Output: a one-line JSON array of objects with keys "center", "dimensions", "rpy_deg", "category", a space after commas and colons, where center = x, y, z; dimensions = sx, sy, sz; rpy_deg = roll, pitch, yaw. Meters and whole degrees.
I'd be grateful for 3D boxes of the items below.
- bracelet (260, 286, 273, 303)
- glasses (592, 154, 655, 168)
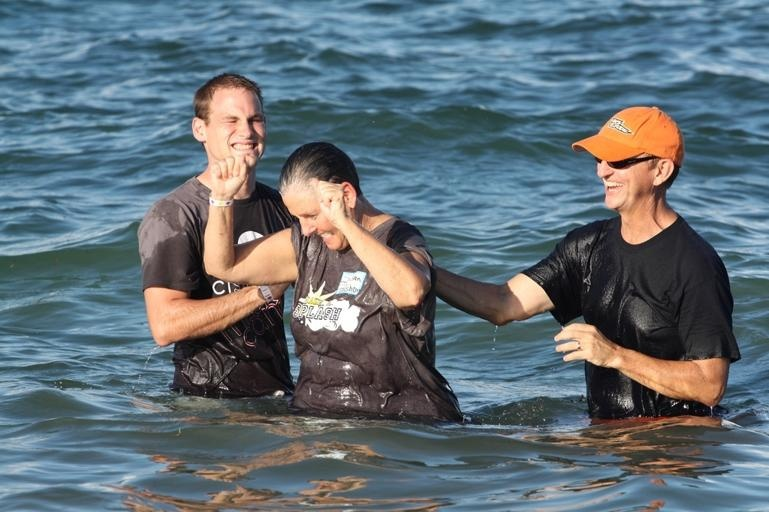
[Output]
[{"center": [-1.205, 0.398, 15.099], "dimensions": [0.132, 0.165, 0.168], "rpy_deg": [-21, 37, 3], "category": "bracelet"}, {"center": [2.537, -0.957, 14.781], "dimensions": [0.489, 0.110, 0.070], "rpy_deg": [-3, 14, 6], "category": "glasses"}]
